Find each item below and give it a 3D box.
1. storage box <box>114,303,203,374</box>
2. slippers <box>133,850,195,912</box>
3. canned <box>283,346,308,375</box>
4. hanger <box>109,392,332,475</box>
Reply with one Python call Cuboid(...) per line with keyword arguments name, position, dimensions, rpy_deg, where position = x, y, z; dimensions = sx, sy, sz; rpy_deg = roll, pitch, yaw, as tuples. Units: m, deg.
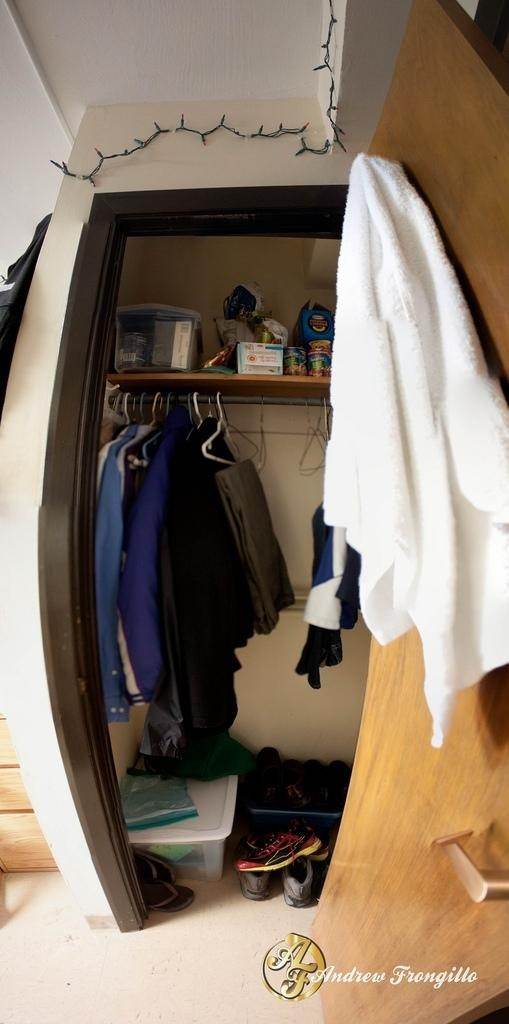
Cuboid(name="storage box", position=(-0.276, -0.489, 1.834), dimensions=(0.240, 0.182, 0.160), rpy_deg=(-3, 12, -11))
Cuboid(name="slippers", position=(-0.246, 0.997, 1.762), dimensions=(0.154, 0.132, 0.121), rpy_deg=(-3, 12, -12))
Cuboid(name="canned", position=(0.112, -0.421, 1.836), dimensions=(0.068, 0.086, 0.071), rpy_deg=(-3, 2, -34))
Cuboid(name="hanger", position=(-0.067, -0.238, 2.084), dimensions=(0.600, 0.279, 0.306), rpy_deg=(1, 12, 8))
